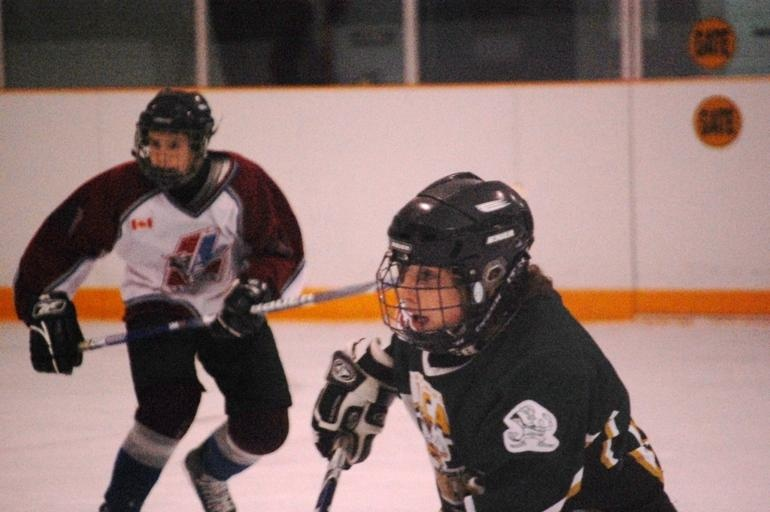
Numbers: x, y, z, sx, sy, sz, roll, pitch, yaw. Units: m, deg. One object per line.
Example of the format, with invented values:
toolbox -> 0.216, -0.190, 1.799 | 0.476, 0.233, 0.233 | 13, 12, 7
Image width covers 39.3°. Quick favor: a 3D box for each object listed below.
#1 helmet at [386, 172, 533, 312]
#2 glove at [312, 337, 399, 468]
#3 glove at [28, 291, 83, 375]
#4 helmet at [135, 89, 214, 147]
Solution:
helmet -> 0.306, -0.063, 4.301 | 0.604, 0.475, 0.451 | -13, 21, -30
glove -> -0.131, 0.595, 4.403 | 0.305, 0.494, 0.210 | 30, 11, 31
glove -> -1.455, 0.345, 4.768 | 0.229, 0.382, 0.122 | -1, 9, -17
helmet -> -0.918, -0.587, 4.869 | 0.263, 0.240, 0.293 | 3, -9, 36
